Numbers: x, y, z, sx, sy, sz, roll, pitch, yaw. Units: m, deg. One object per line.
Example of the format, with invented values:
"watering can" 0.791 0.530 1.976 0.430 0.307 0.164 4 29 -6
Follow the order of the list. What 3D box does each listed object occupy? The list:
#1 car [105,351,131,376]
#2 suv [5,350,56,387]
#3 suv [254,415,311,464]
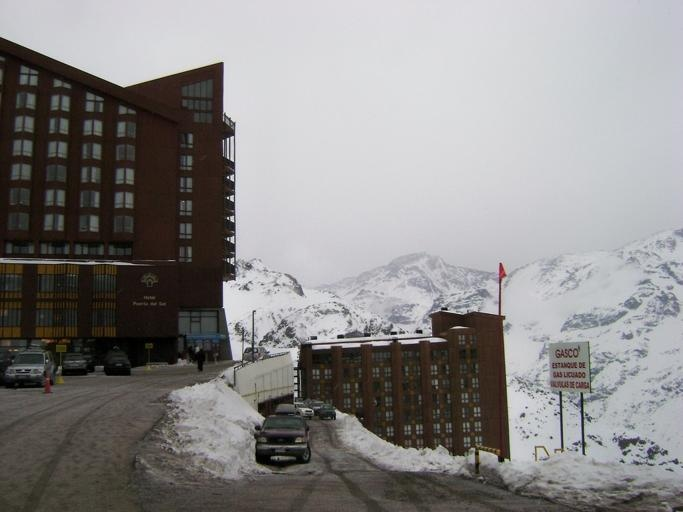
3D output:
"car" -18.608 8.951 51.663 2.135 2.089 1.403 -5 -11 17
"suv" -19.684 7.082 39.136 2.639 2.180 1.753 5 -12 -30
"suv" -2.604 8.472 28.247 1.474 1.291 2.762 0 -27 -2
